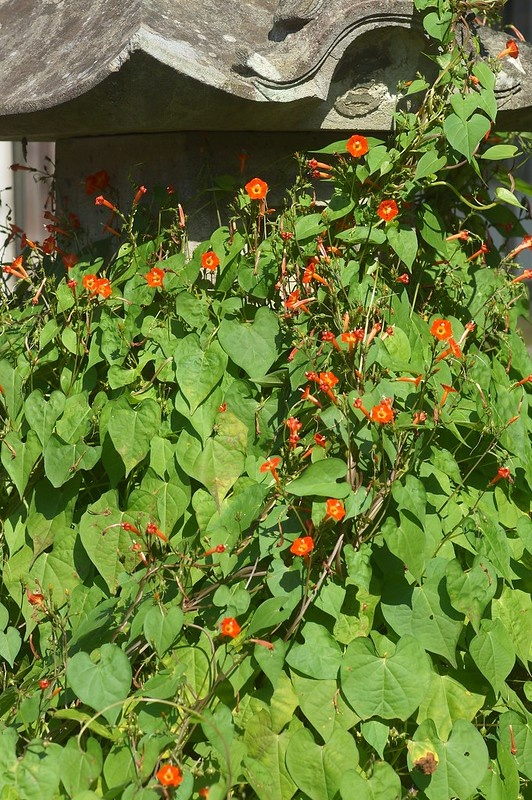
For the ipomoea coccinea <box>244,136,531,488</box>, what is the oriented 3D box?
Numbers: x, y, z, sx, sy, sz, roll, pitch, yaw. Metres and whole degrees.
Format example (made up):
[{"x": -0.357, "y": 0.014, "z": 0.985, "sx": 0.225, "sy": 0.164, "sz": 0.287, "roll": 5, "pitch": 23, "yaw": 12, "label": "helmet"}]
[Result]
[{"x": 0.265, "y": -0.282, "z": 2.043, "sx": 0.764, "sy": 0.954, "sz": 0.319, "roll": -5, "pitch": -2, "yaw": -17, "label": "ipomoea coccinea"}]
